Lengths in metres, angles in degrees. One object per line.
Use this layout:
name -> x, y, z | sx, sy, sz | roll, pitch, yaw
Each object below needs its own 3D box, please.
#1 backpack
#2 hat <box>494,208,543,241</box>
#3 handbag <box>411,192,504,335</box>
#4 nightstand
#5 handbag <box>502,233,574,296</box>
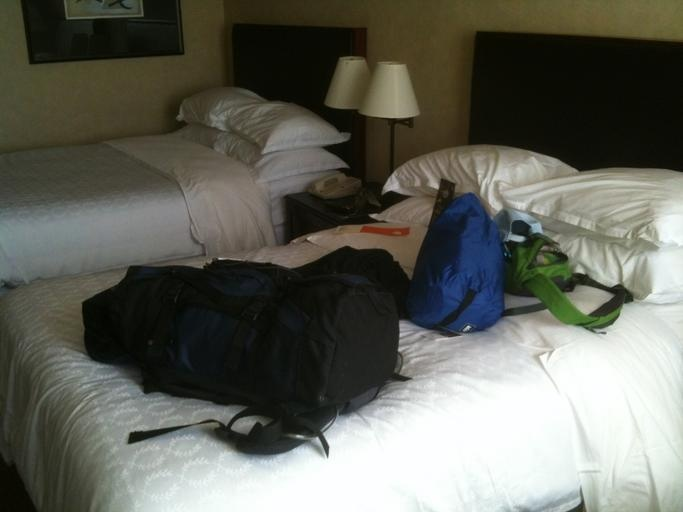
backpack -> -0.283, 0.252, 1.664 | 0.721, 0.274, 0.563 | 1, 25, -3
hat -> 0.657, -0.116, 2.126 | 0.119, 0.060, 0.160 | -7, 21, -16
handbag -> 0.397, 0.054, 1.975 | 0.321, 0.345, 0.278 | 4, 22, 6
nightstand -> -0.047, -0.323, 3.085 | 0.336, 0.429, 0.426 | -25, 37, -37
handbag -> 0.693, 0.049, 2.025 | 0.253, 0.222, 0.192 | 9, 22, 17
